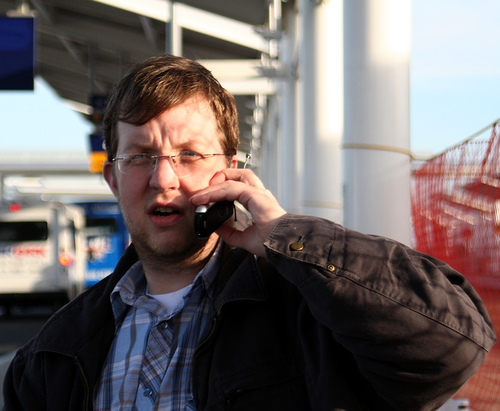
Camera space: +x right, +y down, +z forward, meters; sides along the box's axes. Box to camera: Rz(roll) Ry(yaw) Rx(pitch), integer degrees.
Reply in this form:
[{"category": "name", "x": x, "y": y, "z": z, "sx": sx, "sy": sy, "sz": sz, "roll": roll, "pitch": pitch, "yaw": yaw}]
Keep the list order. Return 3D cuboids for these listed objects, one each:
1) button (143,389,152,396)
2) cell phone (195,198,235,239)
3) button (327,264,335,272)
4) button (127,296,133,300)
[{"category": "button", "x": -0.509, "y": 0.920, "z": 3.443, "sx": 0.028, "sy": 0.032, "sz": 0.007, "roll": -3, "pitch": -10, "yaw": 17}, {"category": "cell phone", "x": -0.157, "y": 0.056, "z": 3.518, "sx": 0.116, "sy": 0.186, "sz": 0.267, "roll": 0, "pitch": 4, "yaw": 35}, {"category": "button", "x": 0.363, "y": 0.274, "z": 3.073, "sx": 0.030, "sy": 0.026, "sz": 0.015, "roll": -3, "pitch": 3, "yaw": 7}, {"category": "button", "x": -0.649, "y": 0.493, "z": 3.739, "sx": 0.017, "sy": 0.019, "sz": 0.018, "roll": -1, "pitch": 6, "yaw": 5}]
